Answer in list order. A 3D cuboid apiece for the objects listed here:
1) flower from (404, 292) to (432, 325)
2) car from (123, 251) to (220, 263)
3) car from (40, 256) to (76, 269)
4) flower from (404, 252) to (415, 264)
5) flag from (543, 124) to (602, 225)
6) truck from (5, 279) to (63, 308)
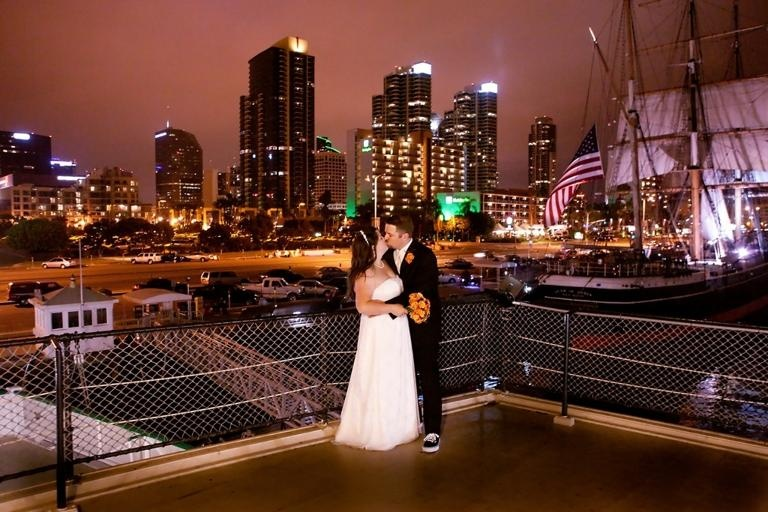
[{"bbox_3d":[0.606,0.859,9.840,0.148,0.400,0.465,8,22,-49],"label":"flower"},{"bbox_3d":[-22.710,0.048,63.432,8.507,1.049,2.719,-3,4,-36],"label":"car"},{"bbox_3d":[-30.568,0.615,55.411,1.854,0.956,2.405,0,3,-3],"label":"car"},{"bbox_3d":[0.441,0.031,9.859,0.130,0.051,0.164,-23,14,-13],"label":"flower"},{"bbox_3d":[9.217,-3.946,28.544,2.978,5.005,1.460,-2,2,-34],"label":"flag"},{"bbox_3d":[-18.645,1.981,31.089,3.064,1.271,1.504,-7,10,-36],"label":"truck"}]
